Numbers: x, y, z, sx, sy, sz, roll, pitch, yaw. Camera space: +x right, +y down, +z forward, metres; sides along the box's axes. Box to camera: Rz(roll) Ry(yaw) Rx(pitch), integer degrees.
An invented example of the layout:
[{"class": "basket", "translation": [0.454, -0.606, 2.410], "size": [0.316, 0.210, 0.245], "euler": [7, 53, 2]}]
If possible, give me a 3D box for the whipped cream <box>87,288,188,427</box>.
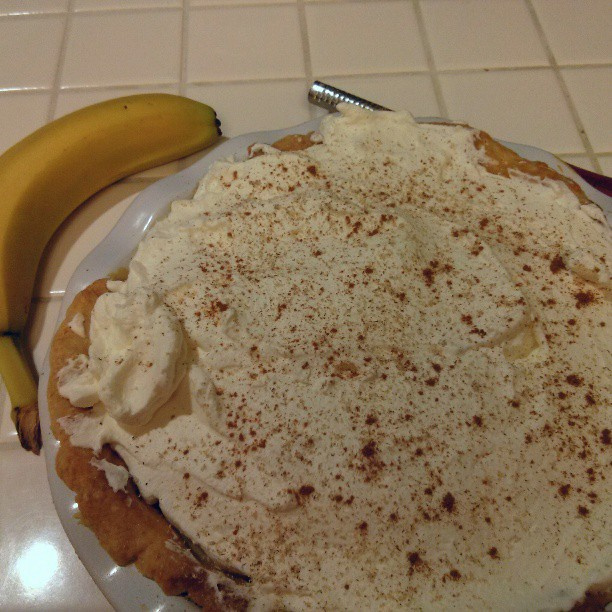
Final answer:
[{"class": "whipped cream", "translation": [-0.314, 0.096, 1.560], "size": [0.215, 0.082, 0.244], "euler": [-5, 75, 4]}]
